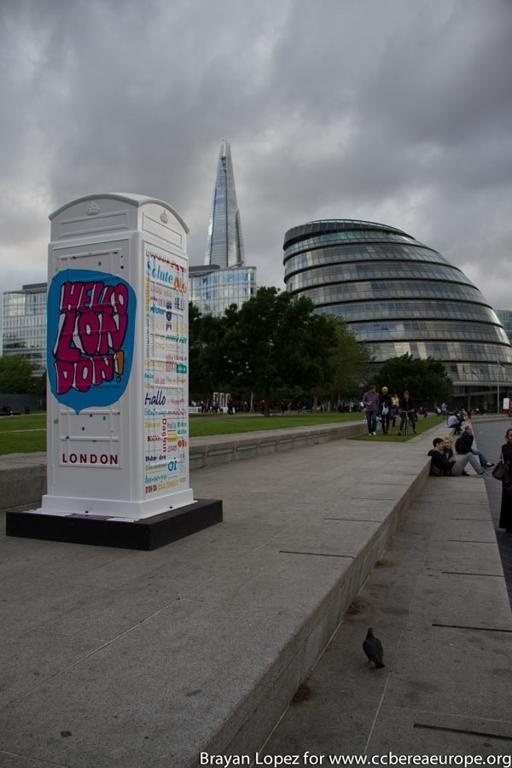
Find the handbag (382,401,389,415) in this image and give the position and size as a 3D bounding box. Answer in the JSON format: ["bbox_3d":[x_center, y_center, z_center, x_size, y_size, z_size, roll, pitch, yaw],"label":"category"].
[{"bbox_3d":[5.597,1.095,24.104,0.318,0.443,0.522,8,-1,13],"label":"handbag"}]
